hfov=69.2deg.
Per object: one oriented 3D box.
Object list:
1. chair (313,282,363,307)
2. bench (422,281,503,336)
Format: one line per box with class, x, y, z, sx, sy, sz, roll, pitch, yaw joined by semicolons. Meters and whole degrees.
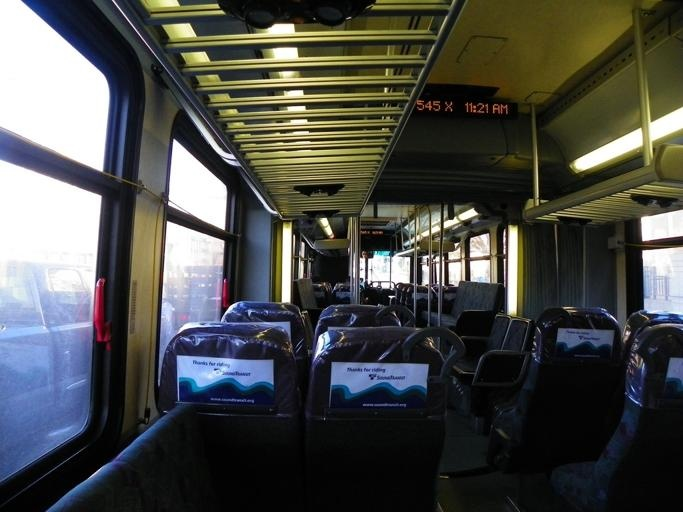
chair;-0.140;0.680;8.711;0.453;0.460;0.444;1;-1;7
bench;1.814;0.701;6.657;0.681;0.599;1.664;3;1;-4
